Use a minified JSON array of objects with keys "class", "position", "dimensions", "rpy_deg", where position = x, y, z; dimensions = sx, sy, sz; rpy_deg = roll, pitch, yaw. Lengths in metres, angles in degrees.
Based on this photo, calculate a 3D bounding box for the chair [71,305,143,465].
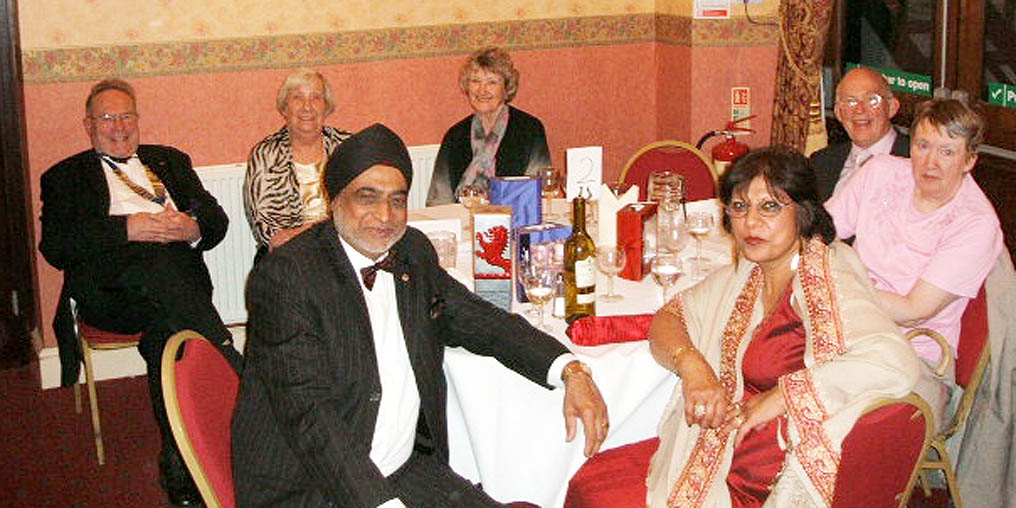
[{"class":"chair","position":[-3.024,0.966,5.711],"dimensions":[0.438,1.046,0.936],"rpy_deg":[-10,7,-32]}]

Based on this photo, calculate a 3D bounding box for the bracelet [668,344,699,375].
[{"class":"bracelet","position":[0.893,0.554,3.969],"dimensions":[0.115,0.138,0.139],"rpy_deg":[2,43,-12]}]

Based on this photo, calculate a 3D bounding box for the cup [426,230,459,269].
[{"class":"cup","position":[-0.364,-0.033,4.658],"dimensions":[0.222,0.220,0.209],"rpy_deg":[-1,17,0]}]

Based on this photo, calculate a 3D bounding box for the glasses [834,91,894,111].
[{"class":"glasses","position":[2.494,-1.072,5.291],"dimensions":[0.352,0.111,0.127],"rpy_deg":[-2,7,20]}]

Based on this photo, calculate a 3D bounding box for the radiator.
[{"class":"radiator","position":[-1.237,-0.160,4.635],"dimensions":[1.545,0.891,0.068],"rpy_deg":[-12,20,-26]}]

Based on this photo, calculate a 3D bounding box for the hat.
[{"class":"hat","position":[-0.724,-0.511,3.886],"dimensions":[0.367,0.420,0.261],"rpy_deg":[21,19,-20]}]

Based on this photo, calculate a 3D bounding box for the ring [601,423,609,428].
[{"class":"ring","position":[0.491,0.863,3.796],"dimensions":[0.033,0.023,0.032],"rpy_deg":[-2,10,0]}]
